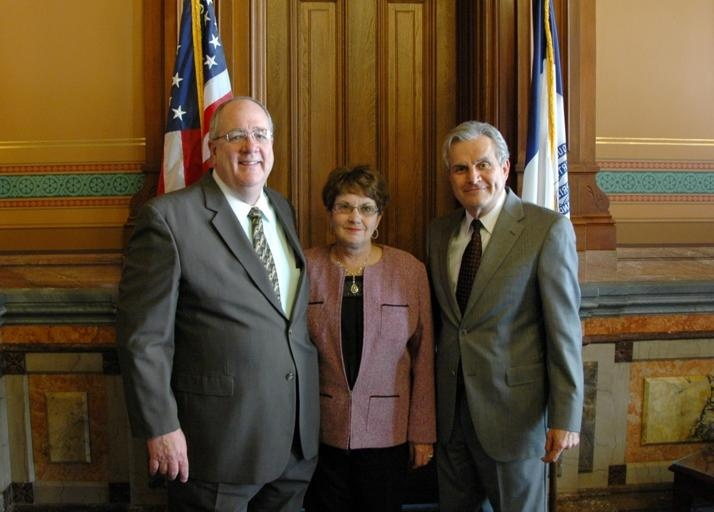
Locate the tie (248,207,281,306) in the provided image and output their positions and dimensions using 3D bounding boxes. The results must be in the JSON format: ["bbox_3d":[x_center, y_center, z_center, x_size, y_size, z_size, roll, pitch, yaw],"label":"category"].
[{"bbox_3d":[-0.444,-0.030,3.508,0.092,0.645,0.062,-18,-13,22],"label":"tie"}]

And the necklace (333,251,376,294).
[{"bbox_3d":[-0.014,0.073,3.719,0.153,0.249,0.055,1,-6,1],"label":"necklace"}]
